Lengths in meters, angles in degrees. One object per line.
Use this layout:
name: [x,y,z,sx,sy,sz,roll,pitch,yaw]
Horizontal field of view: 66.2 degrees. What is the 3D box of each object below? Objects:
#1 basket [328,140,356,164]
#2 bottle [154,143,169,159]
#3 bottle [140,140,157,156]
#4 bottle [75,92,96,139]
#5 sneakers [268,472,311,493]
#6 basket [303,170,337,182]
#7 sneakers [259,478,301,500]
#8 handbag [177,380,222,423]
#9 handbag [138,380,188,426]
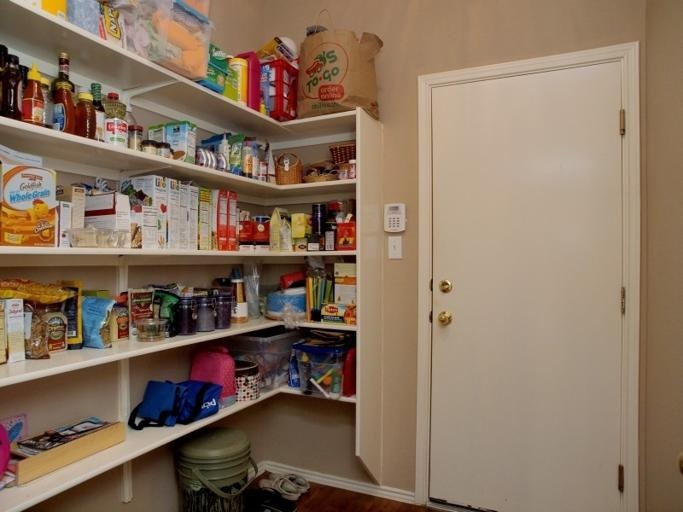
basket: [0.004,-0.585,2.935,0.119,0.088,0.159,0,16,10]
bottle: [-0.770,-0.452,2.260,0.060,0.065,0.061,-1,1,6]
bottle: [-0.823,-0.463,2.232,0.063,0.061,0.063,3,3,38]
bottle: [-1.003,-0.547,2.039,0.077,0.190,0.053,-3,0,-38]
sneakers: [-0.306,1.301,2.998,0.151,0.046,0.107,4,-2,31]
basket: [-0.116,-0.430,2.886,0.099,0.031,0.100,-3,1,22]
sneakers: [-0.322,1.304,2.962,0.157,0.048,0.116,7,-1,28]
handbag: [-0.676,0.675,2.426,0.171,0.069,0.173,1,-1,30]
handbag: [-0.820,0.673,2.394,0.183,0.188,0.058,5,-10,30]
